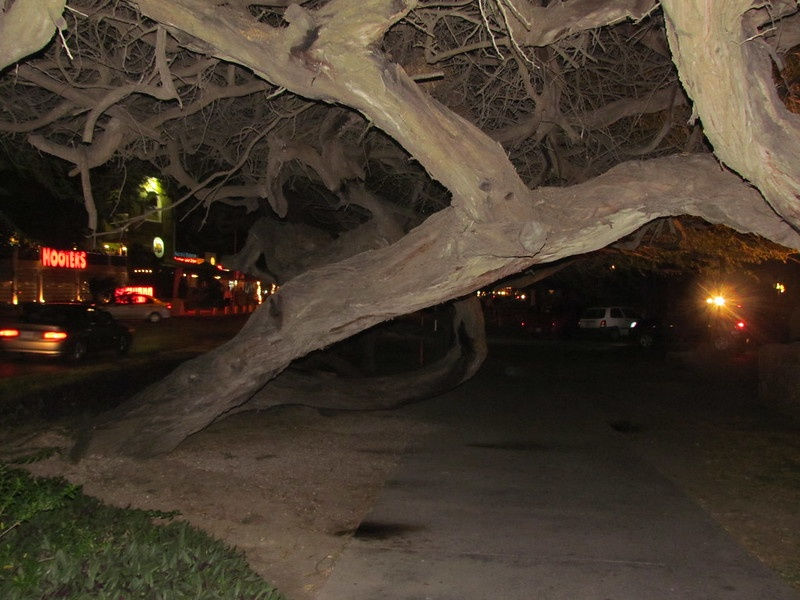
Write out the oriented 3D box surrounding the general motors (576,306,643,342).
[{"bbox_3d":[11.247,1.174,30.280,2.725,1.124,1.617,-7,7,-31],"label":"general motors"}]
